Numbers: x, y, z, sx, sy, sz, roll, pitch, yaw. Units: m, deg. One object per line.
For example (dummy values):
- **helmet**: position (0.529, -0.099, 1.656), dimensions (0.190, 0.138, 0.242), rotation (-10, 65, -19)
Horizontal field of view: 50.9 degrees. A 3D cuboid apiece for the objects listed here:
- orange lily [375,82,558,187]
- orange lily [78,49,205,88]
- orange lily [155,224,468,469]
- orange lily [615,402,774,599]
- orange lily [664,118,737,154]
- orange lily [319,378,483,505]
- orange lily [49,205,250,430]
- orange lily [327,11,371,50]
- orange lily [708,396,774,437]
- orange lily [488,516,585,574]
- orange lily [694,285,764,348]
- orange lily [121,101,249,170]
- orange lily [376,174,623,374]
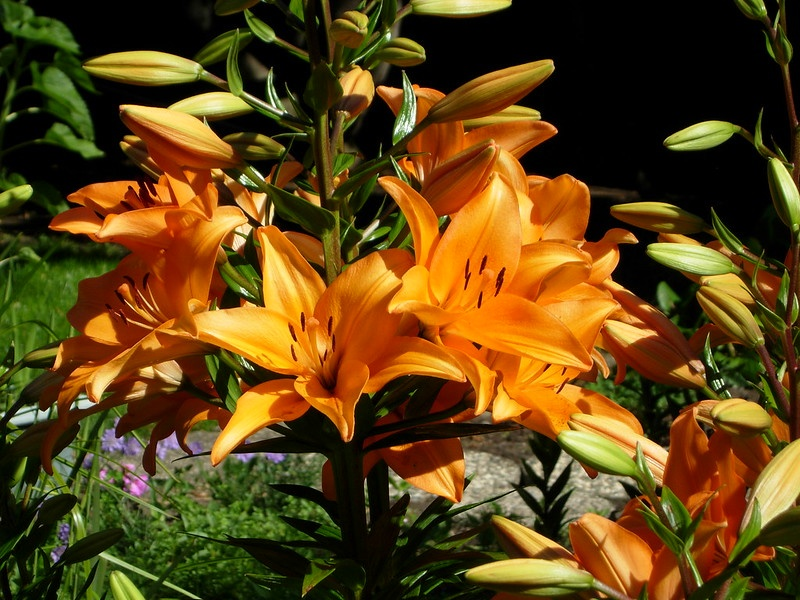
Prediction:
- **orange lily**: position (0.120, -0.288, 1.465), dimensions (0.203, 0.077, 0.200), rotation (12, -12, -2)
- **orange lily**: position (-0.413, -0.387, 1.414), dimensions (0.212, 0.074, 0.071), rotation (-1, 29, -7)
- **orange lily**: position (-0.103, 0.078, 1.275), dimensions (0.377, 0.344, 0.259), rotation (-12, 24, -3)
- **orange lily**: position (0.452, 0.303, 1.300), dimensions (0.240, 0.111, 0.275), rotation (-35, 32, 40)
- **orange lily**: position (0.541, -0.301, 1.484), dimensions (0.154, 0.053, 0.054), rotation (-10, -4, -18)
- **orange lily**: position (0.023, 0.260, 1.528), dimensions (0.216, 0.237, 0.093), rotation (-20, 4, -1)
- **orange lily**: position (-0.406, 0.027, 1.363), dimensions (0.326, 0.122, 0.396), rotation (-25, 35, 21)
- **orange lily**: position (-0.076, -0.424, 1.307), dimensions (0.054, 0.057, 0.024), rotation (16, -12, 43)
- **orange lily**: position (0.490, 0.170, 1.221), dimensions (0.082, 0.061, 0.046), rotation (-8, 25, 7)
- **orange lily**: position (0.185, 0.362, 1.230), dimensions (0.050, 0.061, 0.190), rotation (26, -13, -33)
- **orange lily**: position (0.527, 0.032, 1.348), dimensions (0.097, 0.108, 0.054), rotation (0, 26, 22)
- **orange lily**: position (-0.341, -0.254, 1.362), dimensions (0.206, 0.074, 0.084), rotation (19, 39, -25)
- **orange lily**: position (0.129, -0.033, 1.259), dimensions (0.298, 0.330, 0.164), rotation (-3, -24, -29)
